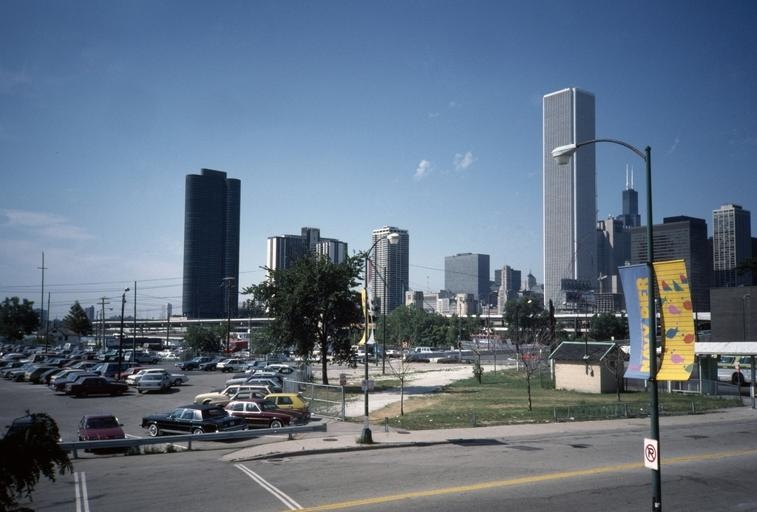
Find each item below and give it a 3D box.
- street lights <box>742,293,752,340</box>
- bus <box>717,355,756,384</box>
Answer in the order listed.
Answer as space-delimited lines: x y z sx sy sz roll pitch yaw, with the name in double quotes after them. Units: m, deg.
40.391 6.458 82.305 0.876 4.995 0.886 5 -9 -40 "street lights"
33.781 10.908 71.320 5.005 2.519 2.870 0 -6 44 "bus"
